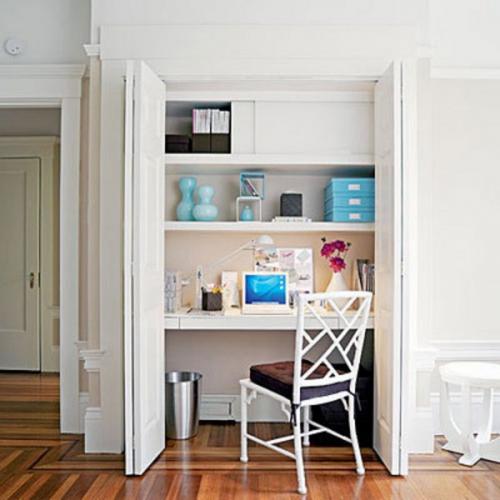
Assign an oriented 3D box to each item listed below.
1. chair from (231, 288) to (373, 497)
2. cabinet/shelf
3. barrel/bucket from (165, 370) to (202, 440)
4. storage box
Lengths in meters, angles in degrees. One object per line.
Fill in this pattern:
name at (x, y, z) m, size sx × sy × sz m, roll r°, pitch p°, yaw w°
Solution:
chair at (0.336, 0.691, 3.557) m, size 0.746 × 1.070 × 1.145 m, roll 2°, pitch 9°, yaw 14°
cabinet/shelf at (0.134, -0.262, 3.862) m, size 1.331 × 1.470 × 0.429 m, roll -1°, pitch 0°, yaw 1°
barrel/bucket at (-0.444, 1.002, 3.823) m, size 0.302 × 0.381 × 0.300 m, roll 0°, pitch -4°, yaw 0°
storage box at (0.652, -0.326, 3.816) m, size 0.260 × 0.236 × 0.283 m, roll 0°, pitch -4°, yaw -1°
